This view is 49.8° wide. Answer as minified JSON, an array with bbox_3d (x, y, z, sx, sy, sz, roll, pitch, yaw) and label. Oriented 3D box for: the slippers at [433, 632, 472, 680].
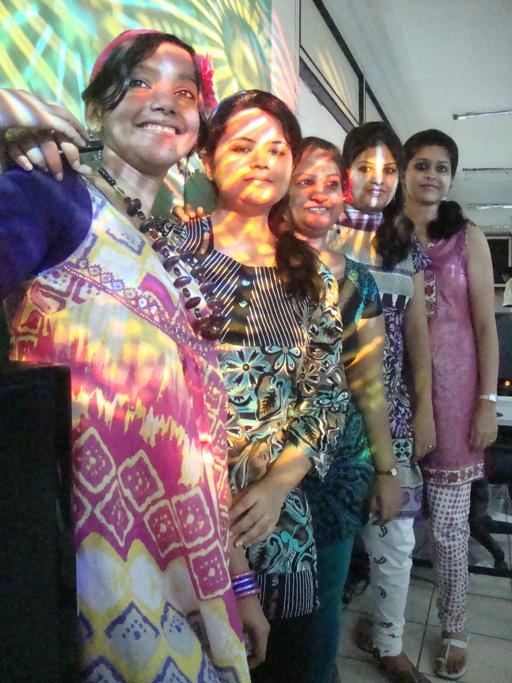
[{"bbox_3d":[0.566,0.917,1.603,0.068,0.046,0.127,-17,19,38],"label":"slippers"}]
